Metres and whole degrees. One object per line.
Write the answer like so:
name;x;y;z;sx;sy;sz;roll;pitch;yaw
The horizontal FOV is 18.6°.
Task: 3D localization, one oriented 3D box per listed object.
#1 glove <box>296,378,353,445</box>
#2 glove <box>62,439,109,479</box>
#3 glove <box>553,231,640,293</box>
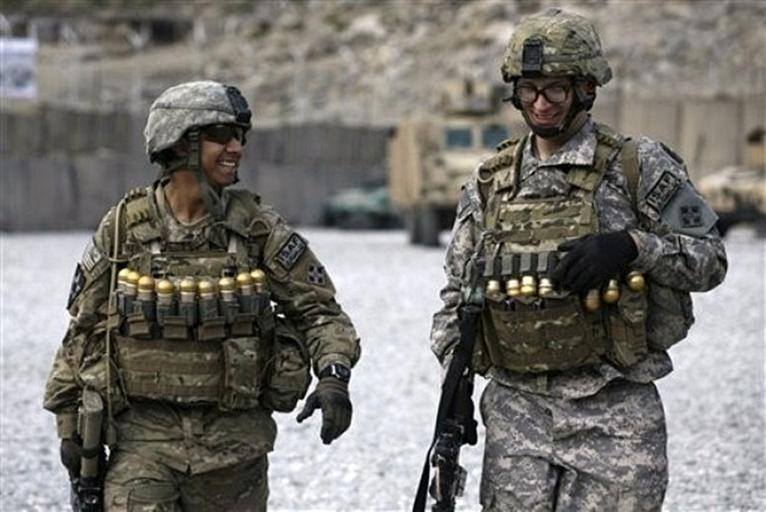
glove;-0.617;1.631;24.534;0.552;0.715;0.340;-2;9;-2
glove;-3.175;2.124;24.815;0.361;0.376;0.453;-2;7;-1
glove;2.193;0.069;24.387;0.896;0.655;0.153;-1;9;4
